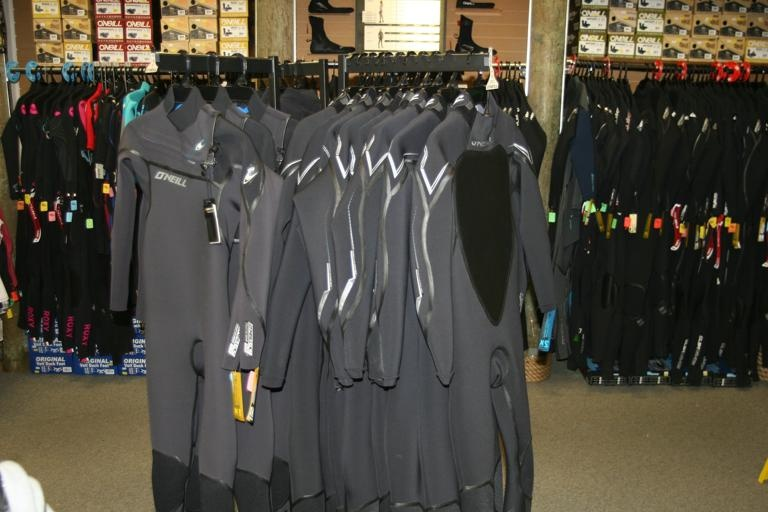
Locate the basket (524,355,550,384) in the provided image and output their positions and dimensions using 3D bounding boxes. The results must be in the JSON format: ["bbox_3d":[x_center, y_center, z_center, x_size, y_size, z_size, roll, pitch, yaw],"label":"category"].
[{"bbox_3d":[1.219,0.872,5.721,0.343,0.211,0.088,-5,7,-41],"label":"basket"}]

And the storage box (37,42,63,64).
[{"bbox_3d":[-2.600,-1.592,5.721,0.178,0.198,0.113,2,13,-2],"label":"storage box"}]

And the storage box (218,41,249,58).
[{"bbox_3d":[-1.167,-1.627,5.727,0.226,0.104,0.146,-1,6,-13],"label":"storage box"}]
